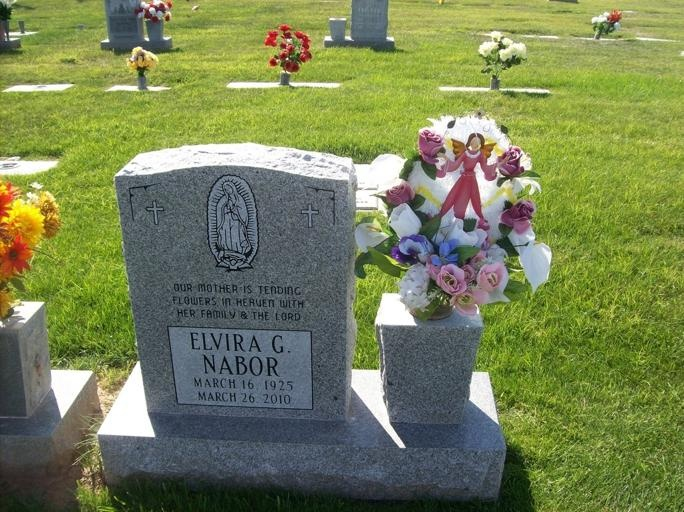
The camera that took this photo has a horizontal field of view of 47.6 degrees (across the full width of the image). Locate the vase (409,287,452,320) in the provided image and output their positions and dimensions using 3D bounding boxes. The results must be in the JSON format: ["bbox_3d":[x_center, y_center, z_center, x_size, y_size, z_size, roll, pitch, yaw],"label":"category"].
[{"bbox_3d":[0.687,0.363,5.887,0.338,0.290,0.254,3,25,4],"label":"vase"}]

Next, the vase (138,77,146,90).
[{"bbox_3d":[-3.598,-3.154,13.906,0.140,0.236,0.352,-5,26,-13],"label":"vase"}]

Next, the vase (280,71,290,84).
[{"bbox_3d":[-1.023,-3.239,13.927,0.174,0.207,0.177,11,2,38],"label":"vase"}]

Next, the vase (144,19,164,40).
[{"bbox_3d":[-4.576,-5.503,18.660,0.495,0.504,0.448,1,18,1],"label":"vase"}]

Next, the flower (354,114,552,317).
[{"bbox_3d":[0.898,-0.296,6.282,1.484,1.582,0.833,3,-4,1],"label":"flower"}]

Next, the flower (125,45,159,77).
[{"bbox_3d":[-3.576,-3.497,13.817,0.422,0.459,0.345,9,26,16],"label":"flower"}]

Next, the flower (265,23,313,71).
[{"bbox_3d":[-0.970,-3.714,14.409,0.785,0.781,0.773,1,25,1],"label":"flower"}]

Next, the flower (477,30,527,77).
[{"bbox_3d":[2.882,-3.705,14.480,0.934,0.798,0.944,7,10,-27],"label":"flower"}]
